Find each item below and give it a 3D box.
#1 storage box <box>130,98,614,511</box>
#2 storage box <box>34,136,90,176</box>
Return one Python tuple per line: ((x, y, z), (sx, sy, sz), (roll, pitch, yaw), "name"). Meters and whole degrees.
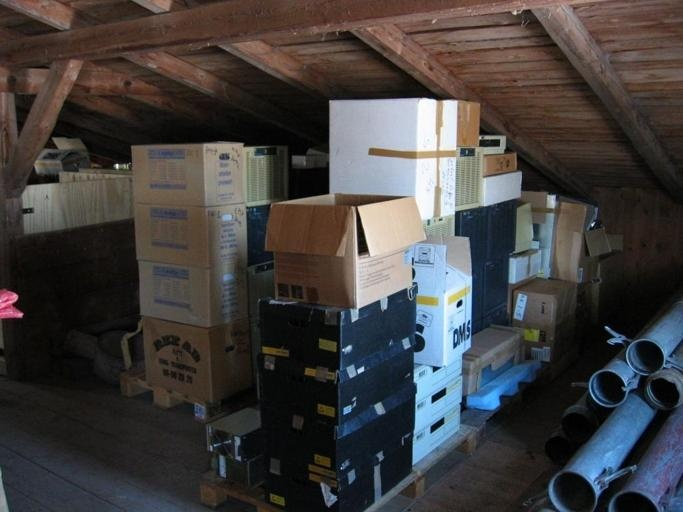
((0.216, 0.343, 3.581), (2.740, 2.188, 0.895), (10, 17, 41), "storage box")
((-2.959, -1.019, 5.830), (0.522, 0.292, 0.489), (13, 22, 35), "storage box")
